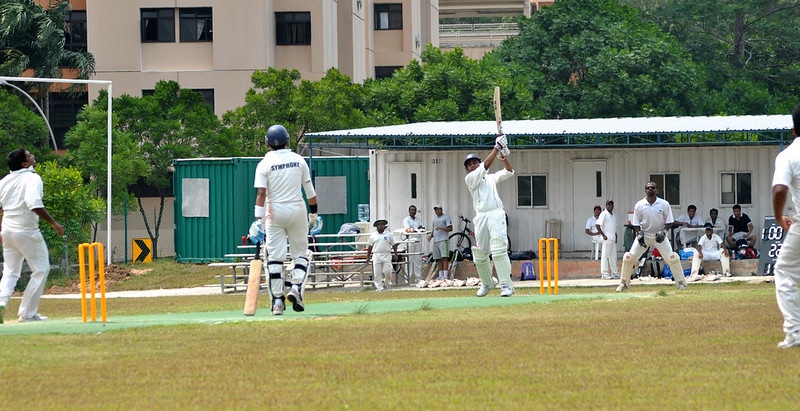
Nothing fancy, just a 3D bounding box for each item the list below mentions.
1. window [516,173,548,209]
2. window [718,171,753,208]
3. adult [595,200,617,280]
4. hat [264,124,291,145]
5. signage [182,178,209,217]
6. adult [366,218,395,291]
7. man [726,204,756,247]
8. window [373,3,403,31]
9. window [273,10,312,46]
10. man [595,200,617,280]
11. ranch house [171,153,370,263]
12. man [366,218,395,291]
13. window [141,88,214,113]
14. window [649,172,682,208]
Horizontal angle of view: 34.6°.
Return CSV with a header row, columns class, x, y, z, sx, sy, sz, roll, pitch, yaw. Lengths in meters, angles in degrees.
class,x,y,z,sx,sy,sz,roll,pitch,yaw
window,5.968,-0.636,58.093,1.958,1.702,0.129,-1,4,0
window,15.048,-0.604,57.518,1.702,1.441,0.106,13,-2,9
adult,9.056,1.607,56.246,0.776,3.488,0.914,-3,-3,18
hat,-4.464,-2.514,46.357,0.738,0.763,0.645,3,-6,-4
signage,-10.148,-0.342,62.405,1.940,2.167,0.281,4,19,12
adult,-0.826,2.211,54.282,1.070,3.024,1.580,-2,-3,10
man,14.987,1.064,56.664,1.389,2.009,1.249,-7,15,13
window,-0.731,-11.785,78.837,2.001,1.562,0.196,2,9,13
window,-5.989,-9.865,70.911,2.391,1.710,0.176,2,1,3
man,9.056,1.607,56.246,0.776,3.488,0.914,-3,-3,18
ranch house,-7.590,0.456,65.191,11.827,4.799,3.857,-1,-3,-39
man,-0.840,2.212,54.283,0.959,3.024,1.514,-3,-3,20
window,-11.571,-5.405,66.049,2.155,1.592,0.682,0,3,5
window,11.586,-0.598,56.030,2.012,1.860,0.136,1,4,5
